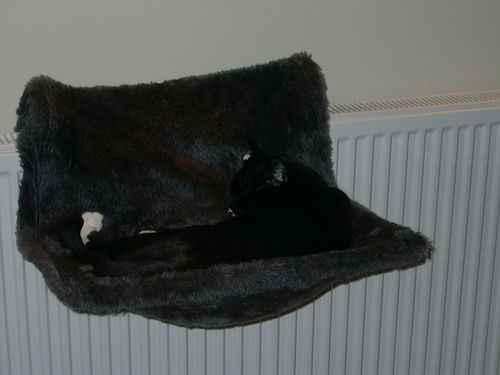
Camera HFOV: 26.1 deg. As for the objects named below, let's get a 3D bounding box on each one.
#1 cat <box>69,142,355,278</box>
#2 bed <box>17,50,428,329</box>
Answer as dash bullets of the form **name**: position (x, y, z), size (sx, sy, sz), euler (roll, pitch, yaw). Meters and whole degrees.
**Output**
- **cat**: position (-0.064, 0.122, 3.192), size (0.549, 0.181, 0.432), euler (-10, 35, -7)
- **bed**: position (-0.181, 0.014, 3.218), size (0.924, 0.693, 0.931), euler (-8, 27, -18)
